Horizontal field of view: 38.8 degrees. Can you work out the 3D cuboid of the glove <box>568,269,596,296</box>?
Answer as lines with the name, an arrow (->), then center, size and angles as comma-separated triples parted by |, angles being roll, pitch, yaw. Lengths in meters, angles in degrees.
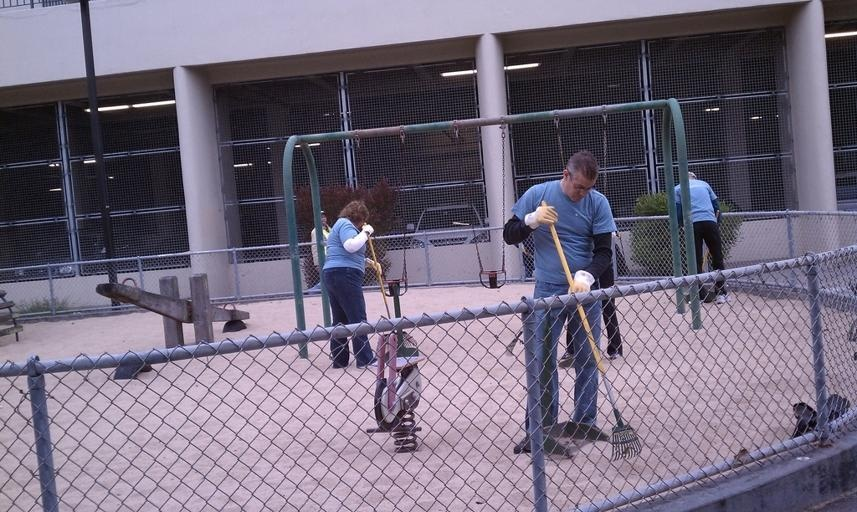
glove -> 2.633, 0.432, 21.208 | 0.389, 0.346, 0.678 | -3, 4, 25

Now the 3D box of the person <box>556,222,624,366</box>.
person -> 3.167, 0.683, 23.502 | 1.355, 2.892, 1.019 | 0, 0, 21

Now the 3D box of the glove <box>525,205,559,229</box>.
glove -> 1.983, -0.700, 21.512 | 0.604, 0.411, 0.254 | -5, 4, 2

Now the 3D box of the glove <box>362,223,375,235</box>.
glove -> -1.238, -0.570, 25.003 | 0.206, 0.133, 0.282 | 29, -5, 8

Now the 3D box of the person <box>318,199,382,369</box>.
person -> -1.534, 0.569, 24.798 | 1.389, 3.162, 1.173 | 0, 1, -17

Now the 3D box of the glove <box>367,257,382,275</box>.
glove -> -1.293, 0.251, 28.784 | 0.159, 0.313, 0.409 | -14, -47, 31

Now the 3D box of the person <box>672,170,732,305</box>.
person -> 6.101, -0.406, 26.726 | 1.347, 2.939, 1.061 | 0, 0, -38
